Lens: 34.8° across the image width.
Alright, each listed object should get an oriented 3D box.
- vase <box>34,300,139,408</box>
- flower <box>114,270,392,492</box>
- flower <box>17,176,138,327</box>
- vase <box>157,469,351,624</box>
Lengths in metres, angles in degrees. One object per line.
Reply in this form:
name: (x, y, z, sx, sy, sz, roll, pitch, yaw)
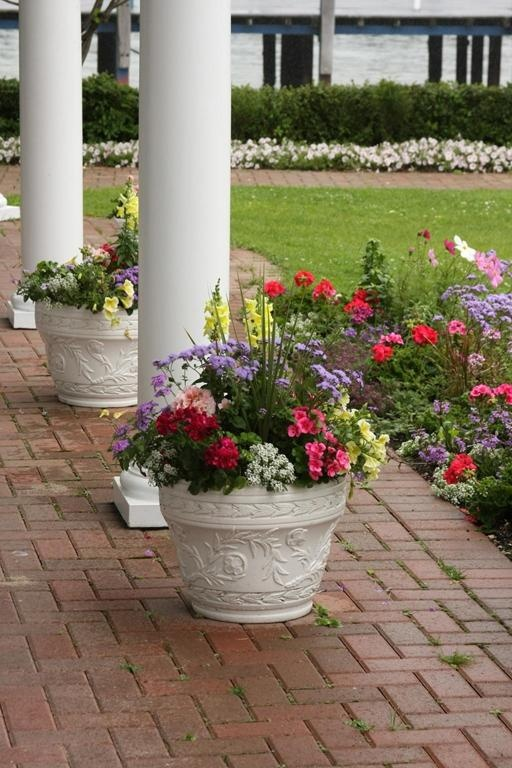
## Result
vase: (-1.016, -0.203, 5.174, 0.741, 0.492, 0.695, -1, 6, -17)
flower: (-0.032, 0.061, 2.766, 1.023, 0.681, 0.785, -2, 17, -5)
flower: (-1.055, -0.826, 5.149, 0.715, 0.782, 0.788, 4, 9, 0)
vase: (-0.004, 0.563, 2.864, 0.680, 0.450, 0.626, -2, -3, -9)
